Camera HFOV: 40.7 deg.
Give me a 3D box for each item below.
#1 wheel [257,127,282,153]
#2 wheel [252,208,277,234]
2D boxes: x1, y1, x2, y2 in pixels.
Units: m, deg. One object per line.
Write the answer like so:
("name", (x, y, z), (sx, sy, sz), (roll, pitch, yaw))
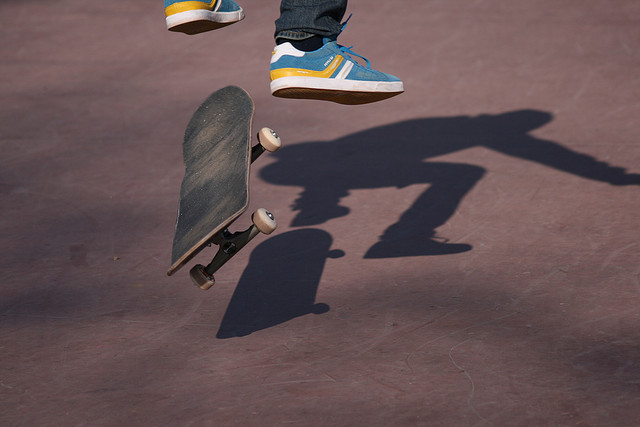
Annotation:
("wheel", (-0.275, -0.387, 4.436), (0.150, 0.082, 0.128), (31, 17, -23))
("wheel", (-0.279, 0.040, 4.270), (0.123, 0.144, 0.102), (7, 32, -14))
